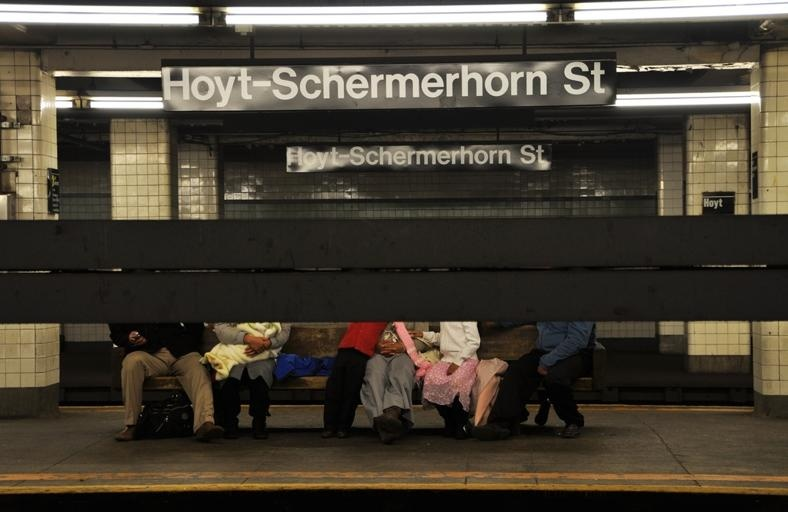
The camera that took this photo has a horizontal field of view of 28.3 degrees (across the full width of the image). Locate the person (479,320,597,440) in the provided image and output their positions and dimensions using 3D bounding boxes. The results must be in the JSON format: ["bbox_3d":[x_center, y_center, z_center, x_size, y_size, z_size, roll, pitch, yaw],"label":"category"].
[{"bbox_3d":[1.657,1.412,17.843,1.207,1.321,0.557,1,13,5],"label":"person"}]

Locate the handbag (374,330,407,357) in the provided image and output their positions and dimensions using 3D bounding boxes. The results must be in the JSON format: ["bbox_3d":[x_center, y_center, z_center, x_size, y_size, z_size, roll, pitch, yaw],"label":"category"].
[{"bbox_3d":[-0.058,0.998,17.948,0.369,0.150,0.450,1,0,-1],"label":"handbag"}]

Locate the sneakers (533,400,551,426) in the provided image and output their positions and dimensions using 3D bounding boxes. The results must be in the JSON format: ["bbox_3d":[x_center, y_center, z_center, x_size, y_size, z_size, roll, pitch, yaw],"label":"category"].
[{"bbox_3d":[1.725,1.810,18.254,0.160,0.344,0.144,12,27,11],"label":"sneakers"}]

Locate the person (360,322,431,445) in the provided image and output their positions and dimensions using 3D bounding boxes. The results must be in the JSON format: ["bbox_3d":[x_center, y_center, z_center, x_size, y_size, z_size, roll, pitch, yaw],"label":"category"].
[{"bbox_3d":[-0.039,1.421,17.937,0.660,1.432,0.497,-2,-36,6],"label":"person"}]

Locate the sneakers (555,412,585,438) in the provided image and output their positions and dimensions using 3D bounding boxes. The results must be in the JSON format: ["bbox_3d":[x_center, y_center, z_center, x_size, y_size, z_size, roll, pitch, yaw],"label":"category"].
[{"bbox_3d":[2.019,1.977,17.949,0.185,0.164,0.418,-8,-13,35],"label":"sneakers"}]

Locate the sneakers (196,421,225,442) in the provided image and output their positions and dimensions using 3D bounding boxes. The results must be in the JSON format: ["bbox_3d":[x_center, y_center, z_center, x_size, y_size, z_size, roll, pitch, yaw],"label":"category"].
[{"bbox_3d":[-2.140,1.989,17.743,0.379,0.139,0.181,-8,7,30],"label":"sneakers"}]

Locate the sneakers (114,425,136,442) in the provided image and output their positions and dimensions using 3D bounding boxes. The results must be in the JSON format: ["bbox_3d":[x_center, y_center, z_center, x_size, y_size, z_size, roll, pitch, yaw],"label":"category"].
[{"bbox_3d":[-3.068,2.032,18.018,0.303,0.240,0.133,2,-3,-1],"label":"sneakers"}]

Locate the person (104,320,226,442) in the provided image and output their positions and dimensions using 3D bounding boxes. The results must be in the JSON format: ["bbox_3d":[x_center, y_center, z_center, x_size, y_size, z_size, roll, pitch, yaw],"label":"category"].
[{"bbox_3d":[-2.568,1.408,17.796,1.108,1.789,1.097,7,-38,-20],"label":"person"}]

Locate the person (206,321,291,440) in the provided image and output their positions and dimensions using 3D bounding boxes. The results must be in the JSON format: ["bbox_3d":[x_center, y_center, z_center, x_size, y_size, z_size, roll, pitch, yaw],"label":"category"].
[{"bbox_3d":[-1.727,1.094,17.965,0.920,1.605,0.605,6,-17,-5],"label":"person"}]

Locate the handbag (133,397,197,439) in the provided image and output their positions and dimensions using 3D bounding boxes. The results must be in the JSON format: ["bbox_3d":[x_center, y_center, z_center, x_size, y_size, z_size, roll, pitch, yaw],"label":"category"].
[{"bbox_3d":[-2.667,1.815,18.095,0.719,0.495,0.475,-2,-4,-25],"label":"handbag"}]
